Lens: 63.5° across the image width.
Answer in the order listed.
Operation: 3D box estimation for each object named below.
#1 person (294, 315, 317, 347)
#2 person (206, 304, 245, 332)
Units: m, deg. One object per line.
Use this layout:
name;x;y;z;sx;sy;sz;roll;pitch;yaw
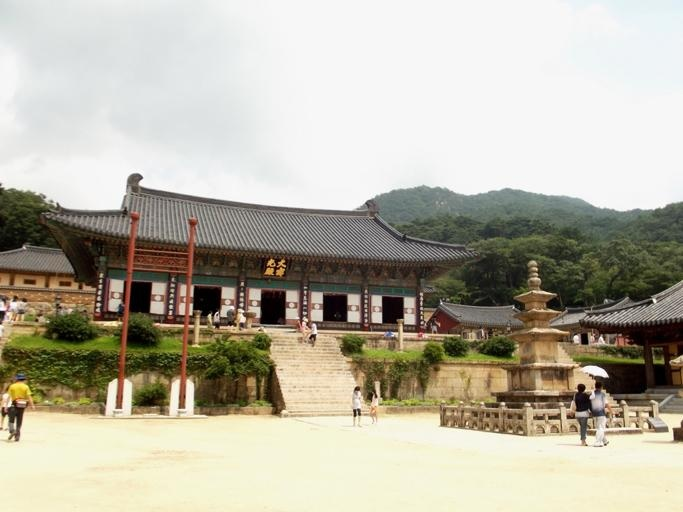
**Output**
person;-1.765;4.280;29.096;1.333;0.730;2.249;0;13;-9
person;-6.268;3.437;30.327;2.546;0.755;0.821;-8;9;6
